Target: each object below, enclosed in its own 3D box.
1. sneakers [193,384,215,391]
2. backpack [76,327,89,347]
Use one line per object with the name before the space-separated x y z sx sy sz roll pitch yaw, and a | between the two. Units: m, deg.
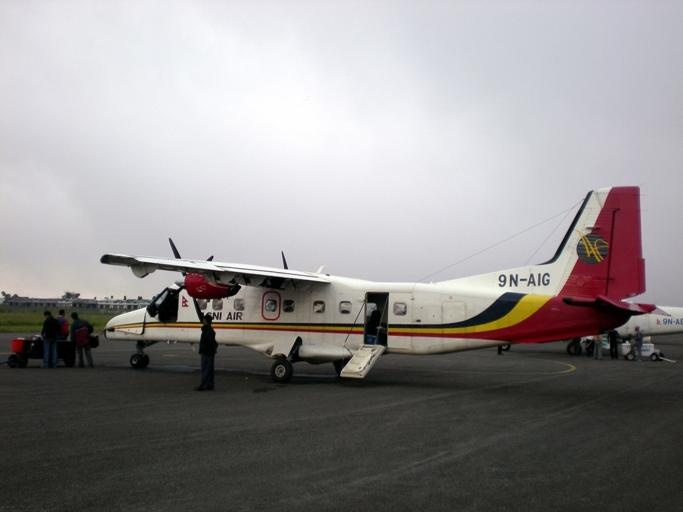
sneakers | -3.772 3.661 14.617 0.561 0.224 0.182 6 -2 -3
backpack | -9.522 2.983 19.509 0.501 0.710 0.311 7 -7 -31
